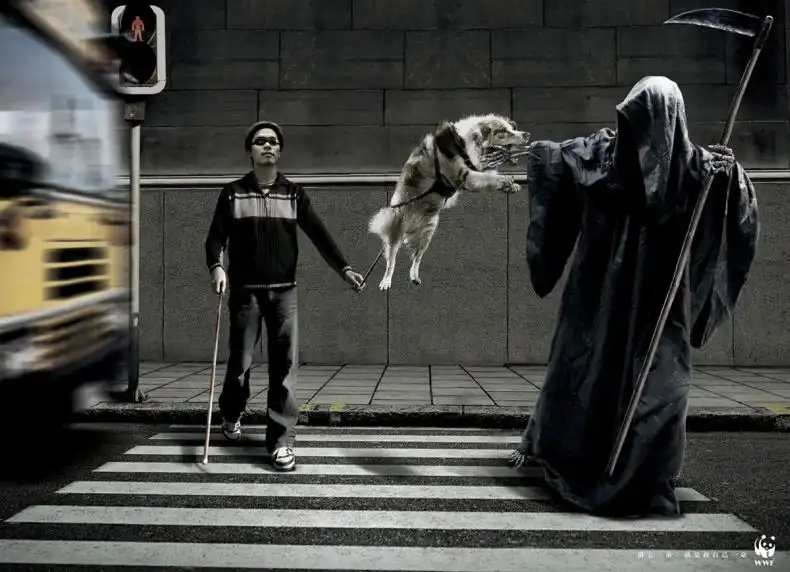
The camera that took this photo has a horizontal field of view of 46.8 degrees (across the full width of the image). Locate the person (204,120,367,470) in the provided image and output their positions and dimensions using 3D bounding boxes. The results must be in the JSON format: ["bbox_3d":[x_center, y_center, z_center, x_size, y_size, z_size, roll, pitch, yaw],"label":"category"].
[{"bbox_3d":[-1.235,0.013,8.495,1.188,2.997,0.899,7,14,30],"label":"person"}]

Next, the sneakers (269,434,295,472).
[{"bbox_3d":[-1.001,1.449,8.237,0.249,0.277,0.255,-4,13,-18],"label":"sneakers"}]
